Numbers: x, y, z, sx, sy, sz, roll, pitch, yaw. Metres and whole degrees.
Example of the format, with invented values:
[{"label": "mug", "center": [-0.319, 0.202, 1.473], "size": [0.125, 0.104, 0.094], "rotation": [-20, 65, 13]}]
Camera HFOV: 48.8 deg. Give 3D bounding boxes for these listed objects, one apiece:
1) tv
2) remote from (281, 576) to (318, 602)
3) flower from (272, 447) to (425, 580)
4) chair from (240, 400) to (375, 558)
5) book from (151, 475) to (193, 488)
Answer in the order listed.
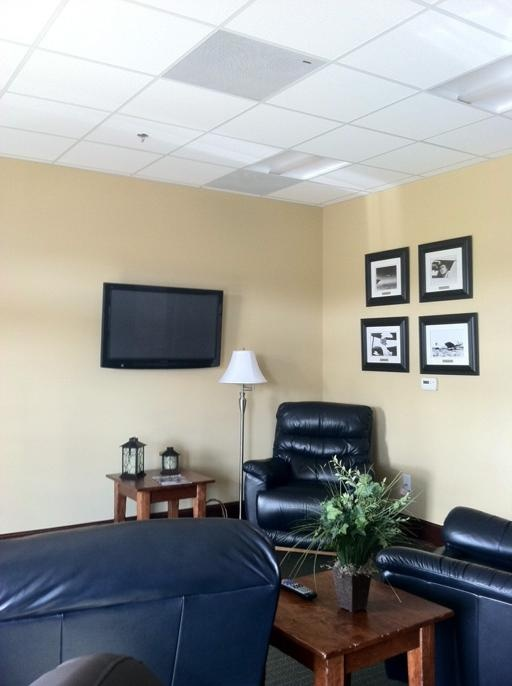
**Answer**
[{"label": "tv", "center": [-0.831, -0.143, 4.712], "size": [0.803, 0.543, 0.082], "rotation": [2, -2, -33]}, {"label": "remote", "center": [0.164, 0.958, 2.202], "size": [0.047, 0.037, 0.157], "rotation": [3, -4, -32]}, {"label": "flower", "center": [0.365, 0.684, 2.105], "size": [0.460, 0.299, 0.463], "rotation": [9, -26, -45]}, {"label": "chair", "center": [0.474, 1.079, 4.709], "size": [1.187, 1.042, 1.265], "rotation": [-1, 1, -31]}, {"label": "book", "center": [-0.649, 1.044, 4.284], "size": [0.263, 0.026, 0.358], "rotation": [0, 0, -24]}]
